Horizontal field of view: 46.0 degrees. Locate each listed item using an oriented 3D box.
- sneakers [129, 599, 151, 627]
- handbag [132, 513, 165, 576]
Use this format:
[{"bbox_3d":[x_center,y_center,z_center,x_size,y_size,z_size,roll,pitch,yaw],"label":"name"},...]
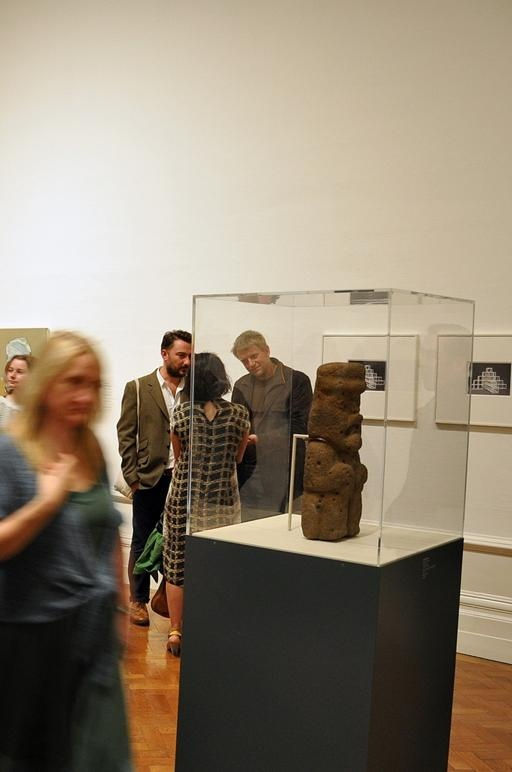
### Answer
[{"bbox_3d":[-0.869,1.704,4.510,0.146,0.139,0.170,3,5,-12],"label":"sneakers"},{"bbox_3d":[-0.778,1.192,4.358,0.188,0.465,0.317,3,5,-12],"label":"handbag"}]
